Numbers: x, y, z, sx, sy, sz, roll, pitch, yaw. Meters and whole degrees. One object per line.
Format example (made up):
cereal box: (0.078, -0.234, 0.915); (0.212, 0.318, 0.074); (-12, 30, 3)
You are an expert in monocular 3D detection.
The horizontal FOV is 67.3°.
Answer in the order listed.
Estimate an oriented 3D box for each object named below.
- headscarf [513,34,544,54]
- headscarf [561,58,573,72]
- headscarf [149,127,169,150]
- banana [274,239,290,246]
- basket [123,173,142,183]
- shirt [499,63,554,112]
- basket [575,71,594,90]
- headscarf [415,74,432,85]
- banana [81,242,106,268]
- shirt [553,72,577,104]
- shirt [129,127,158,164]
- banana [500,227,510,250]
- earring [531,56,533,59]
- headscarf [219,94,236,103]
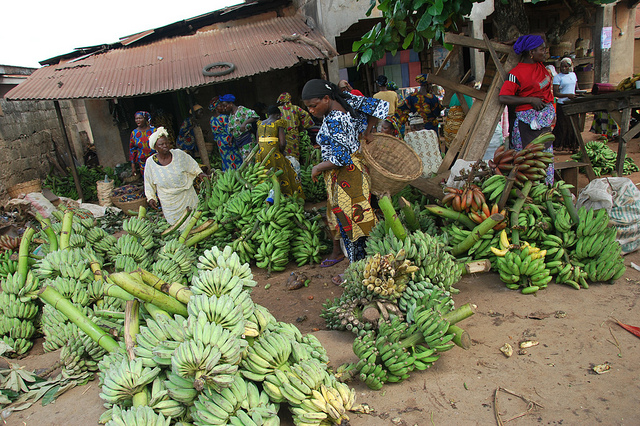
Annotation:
headscarf: (2.719, -2.220, 6.285); (0.280, 0.130, 0.243); (-33, 35, 19)
headscarf: (5.049, -3.015, 9.831); (0.188, 0.266, 0.262); (-2, 19, 22)
headscarf: (-2.337, -1.076, 6.949); (0.232, 0.288, 0.138); (32, 9, 33)
banana: (-0.541, 0.420, 6.767); (0.279, 0.063, 0.101); (-10, -6, -10)
basket: (-4.315, -0.807, 11.125); (0.537, 0.198, 0.260); (4, 22, 36)
shirt: (2.886, -1.706, 6.538); (0.805, 0.729, 0.453); (-19, 14, -20)
basket: (7.269, -3.609, 13.228); (0.425, 0.510, 0.415); (-2, 19, 23)
headscarf: (2.032, -2.639, 9.577); (0.218, 0.166, 0.696); (-7, 18, 9)
banana: (-2.563, 0.488, 5.441); (0.153, 0.234, 0.393); (4, 6, -21)
shirt: (5.061, -2.661, 9.981); (0.399, 0.427, 0.318); (0, 20, 27)
shirt: (-3.551, -1.339, 9.767); (0.675, 0.692, 0.381); (-4, 22, -14)
banana: (2.105, 0.289, 5.521); (0.069, 0.252, 0.080); (-8, -13, -8)
earring: (2.789, -2.042, 6.341); (0.017, 0.031, 0.030); (-4, 12, 14)
headscarf: (-1.778, -2.156, 9.164); (0.313, 0.146, 0.297); (-17, 19, -20)
